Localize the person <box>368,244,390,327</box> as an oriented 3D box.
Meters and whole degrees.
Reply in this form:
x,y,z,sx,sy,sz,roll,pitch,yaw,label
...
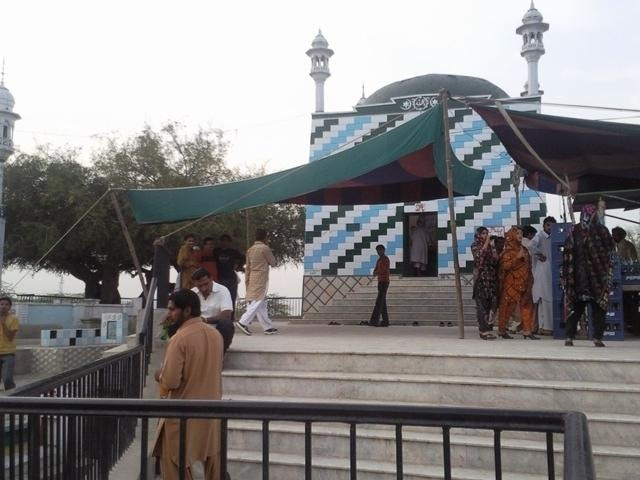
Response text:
x,y,z,sx,sy,sz,roll,pitch,yaw,label
1.303,1.019,18.333,0.374,1.763,1.091,1,-7,3,person

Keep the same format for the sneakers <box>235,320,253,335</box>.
x,y,z,sx,sy,sz,roll,pitch,yaw,label
-1.395,1.617,15.305,0.188,0.199,0.517,43,-11,25,sneakers

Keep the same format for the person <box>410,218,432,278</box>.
x,y,z,sx,sy,sz,roll,pitch,yaw,label
2.691,0.131,22.640,0.495,1.562,1.381,0,-7,6,person

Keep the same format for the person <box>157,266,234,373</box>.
x,y,z,sx,sy,sz,roll,pitch,yaw,label
-1.740,1.123,12.614,1.006,1.469,0.807,-1,9,11,person

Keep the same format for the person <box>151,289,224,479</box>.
x,y,z,sx,sy,sz,roll,pitch,yaw,label
-1.642,1.801,10.395,0.832,2.391,0.597,2,-7,-11,person

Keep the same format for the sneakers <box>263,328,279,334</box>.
x,y,z,sx,sy,sz,roll,pitch,yaw,label
-0.930,1.700,15.644,0.264,0.126,0.102,-3,1,13,sneakers

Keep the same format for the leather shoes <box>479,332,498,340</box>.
x,y,z,sx,sy,sz,roll,pitch,yaw,label
2.874,1.640,14.359,0.116,0.118,0.303,2,-8,-29,leather shoes

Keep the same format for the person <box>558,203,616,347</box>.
x,y,z,sx,sy,sz,roll,pitch,yaw,label
4.337,0.551,13.455,0.806,2.308,0.359,-1,-7,18,person

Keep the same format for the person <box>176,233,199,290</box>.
x,y,z,sx,sy,sz,roll,pitch,yaw,label
-2.492,0.525,15.669,0.356,1.370,0.518,14,27,20,person

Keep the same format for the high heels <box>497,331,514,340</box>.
x,y,z,sx,sy,sz,roll,pitch,yaw,label
3.303,1.667,14.733,0.337,0.185,0.118,-1,2,-24,high heels
